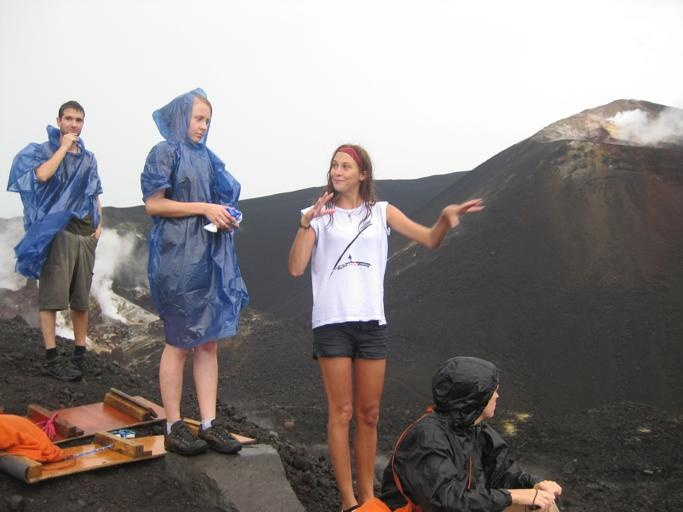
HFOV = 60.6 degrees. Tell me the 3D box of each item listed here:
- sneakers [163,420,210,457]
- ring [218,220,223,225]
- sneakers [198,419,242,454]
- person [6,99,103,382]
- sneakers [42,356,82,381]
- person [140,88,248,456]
[{"bbox_3d":[-0.849,0.960,3.139,0.286,0.143,0.115,3,10,43],"label":"sneakers"},{"bbox_3d":[-0.638,-0.174,3.078,0.022,0.022,0.006,5,5,16],"label":"ring"},{"bbox_3d":[-0.651,0.968,3.170,0.293,0.135,0.113,21,33,31],"label":"sneakers"},{"bbox_3d":[-1.977,-0.026,4.042,0.588,1.741,0.329,1,2,-30],"label":"person"},{"bbox_3d":[-1.901,0.776,4.032,0.281,0.142,0.138,12,12,2],"label":"sneakers"},{"bbox_3d":[-0.794,0.062,3.170,0.572,1.967,0.311,1,1,-9],"label":"person"}]
